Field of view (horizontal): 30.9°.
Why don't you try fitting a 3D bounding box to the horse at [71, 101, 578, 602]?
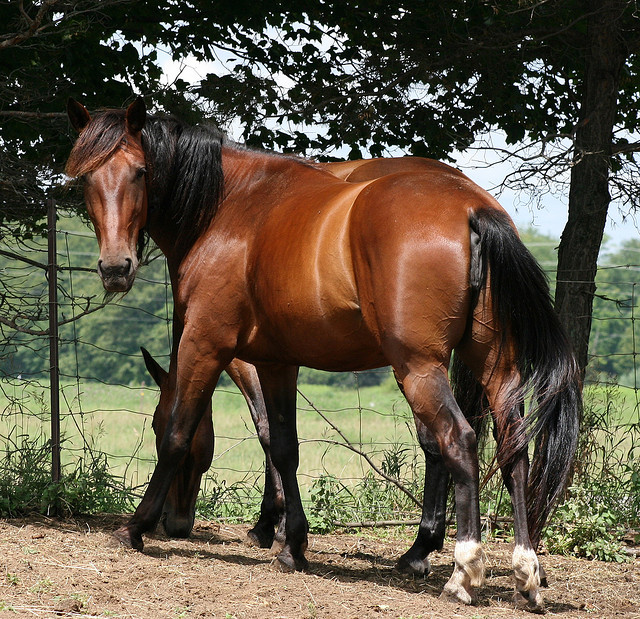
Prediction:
[{"bbox_3d":[-0.021,0.169,7.861,1.306,2.861,4.649,5,-2,-45],"label":"horse"}]
